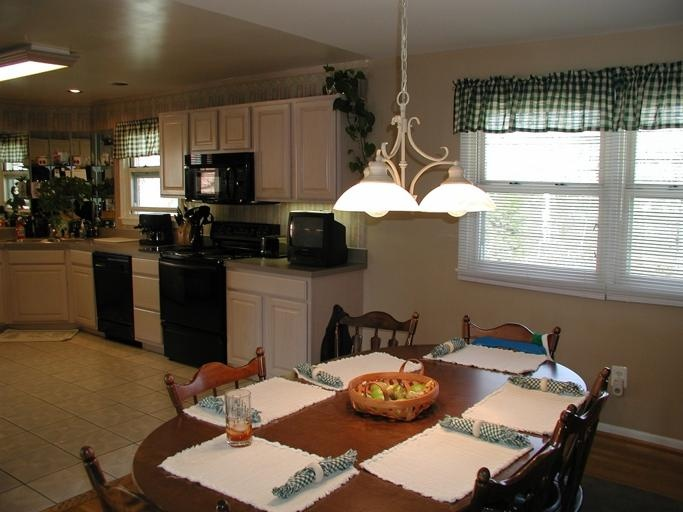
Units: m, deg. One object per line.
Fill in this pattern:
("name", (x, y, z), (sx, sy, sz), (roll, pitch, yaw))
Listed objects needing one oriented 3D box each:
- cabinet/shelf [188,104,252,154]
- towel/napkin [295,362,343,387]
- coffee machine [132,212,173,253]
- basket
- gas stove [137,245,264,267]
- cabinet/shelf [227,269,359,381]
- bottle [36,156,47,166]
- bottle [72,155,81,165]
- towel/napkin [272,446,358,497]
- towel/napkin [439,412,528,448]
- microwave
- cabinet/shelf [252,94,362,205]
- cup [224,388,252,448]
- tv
("cabinet/shelf", (-1.178, -1.258, 5.184), (0.755, 0.453, 0.427), (0, 3, 21))
("towel/napkin", (-0.103, 0.565, 2.451), (0.240, 0.100, 0.090), (3, 12, 41))
("coffee machine", (-2.189, -0.303, 5.846), (0.376, 0.369, 0.345), (-4, 7, -36))
("basket", (0.233, 0.582, 2.177), (0.375, 0.162, 0.344), (2, 8, 45))
("gas stove", (-1.401, -0.013, 5.053), (1.319, 0.115, 0.619), (8, 14, 31))
("cabinet/shelf", (-0.479, 0.586, 4.676), (1.057, 1.028, 0.650), (4, 7, 38))
("bottle", (-4.028, -1.275, 6.735), (0.117, 0.111, 0.119), (0, 1, 29))
("bottle", (-3.583, -1.287, 6.766), (0.142, 0.139, 0.104), (1, 0, -5))
("towel/napkin", (-0.079, 0.727, 1.742), (0.344, 0.094, 0.092), (-14, 54, -41))
("towel/napkin", (0.554, 0.679, 1.975), (0.374, 0.082, 0.105), (4, 34, 31))
("microwave", (-1.135, -0.613, 5.145), (0.878, 0.572, 0.564), (4, 5, 36))
("cabinet/shelf", (-0.349, -0.971, 4.709), (1.022, 0.942, 0.388), (7, 11, 34))
("cup", (-0.389, 0.607, 1.893), (0.091, 0.198, 0.097), (1, 12, 0))
("tv", (-0.209, -0.143, 4.357), (0.521, 0.476, 0.249), (0, 12, -4))
